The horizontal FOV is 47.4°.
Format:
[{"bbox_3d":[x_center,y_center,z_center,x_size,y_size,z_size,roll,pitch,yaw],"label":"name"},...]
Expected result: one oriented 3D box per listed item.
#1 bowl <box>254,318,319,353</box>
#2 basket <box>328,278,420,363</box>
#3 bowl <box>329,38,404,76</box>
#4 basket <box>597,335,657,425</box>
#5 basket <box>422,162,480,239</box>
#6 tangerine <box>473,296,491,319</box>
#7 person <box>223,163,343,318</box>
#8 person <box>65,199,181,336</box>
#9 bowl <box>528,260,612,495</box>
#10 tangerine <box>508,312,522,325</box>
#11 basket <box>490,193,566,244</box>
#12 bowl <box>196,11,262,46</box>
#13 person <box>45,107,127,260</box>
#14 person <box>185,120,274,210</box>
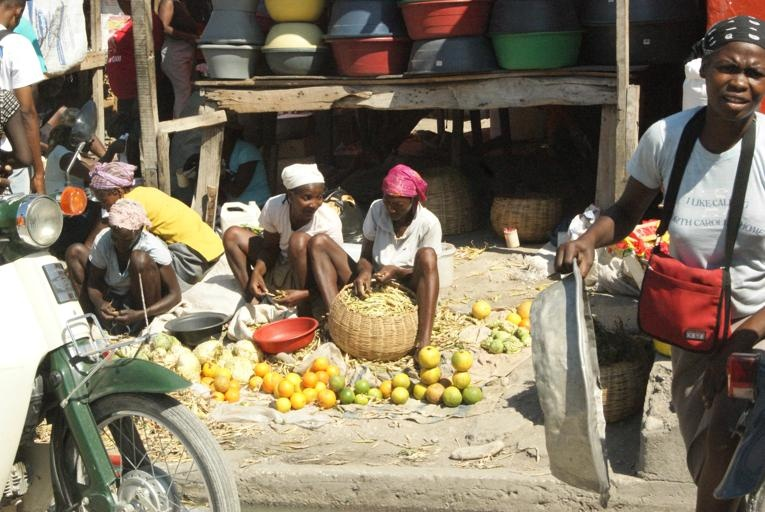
[{"bbox_3d":[-0.732,0.627,6.893,0.481,0.132,0.483,-6,18,2],"label":"bowl"},{"bbox_3d":[-0.074,0.465,6.677,0.565,0.332,0.566,1,9,-1],"label":"basket"},{"bbox_3d":[-0.150,-1.967,8.665,0.474,0.184,0.484,-2,7,0],"label":"bowl"},{"bbox_3d":[1.700,0.833,6.229,0.562,0.448,0.654,0,7,-3],"label":"basket"},{"bbox_3d":[0.691,-0.617,9.831,0.644,0.667,0.675,-5,11,-7],"label":"basket"},{"bbox_3d":[0.822,0.446,7.380,0.140,0.140,0.141,20,-30,-8],"label":"tangerine"},{"bbox_3d":[-0.880,-0.090,7.602,1.150,1.373,0.974,14,9,7],"label":"person"},{"bbox_3d":[-2.093,0.119,7.136,0.801,1.002,0.708,9,30,12],"label":"person"},{"bbox_3d":[0.912,0.635,4.281,0.346,0.893,0.786,0,-15,8],"label":"bowl"},{"bbox_3d":[1.061,0.493,6.993,0.084,0.103,0.085,-3,-7,1],"label":"tangerine"},{"bbox_3d":[1.483,-0.402,8.972,0.512,0.324,0.551,0,5,-1],"label":"basket"},{"bbox_3d":[-1.574,-2.396,9.179,0.643,0.298,0.645,3,15,-1],"label":"bowl"},{"bbox_3d":[-3.167,-0.726,9.422,0.932,1.750,0.654,-5,11,-3],"label":"person"},{"bbox_3d":[-1.722,-1.000,9.691,0.987,1.037,0.766,-1,9,-3],"label":"person"}]
